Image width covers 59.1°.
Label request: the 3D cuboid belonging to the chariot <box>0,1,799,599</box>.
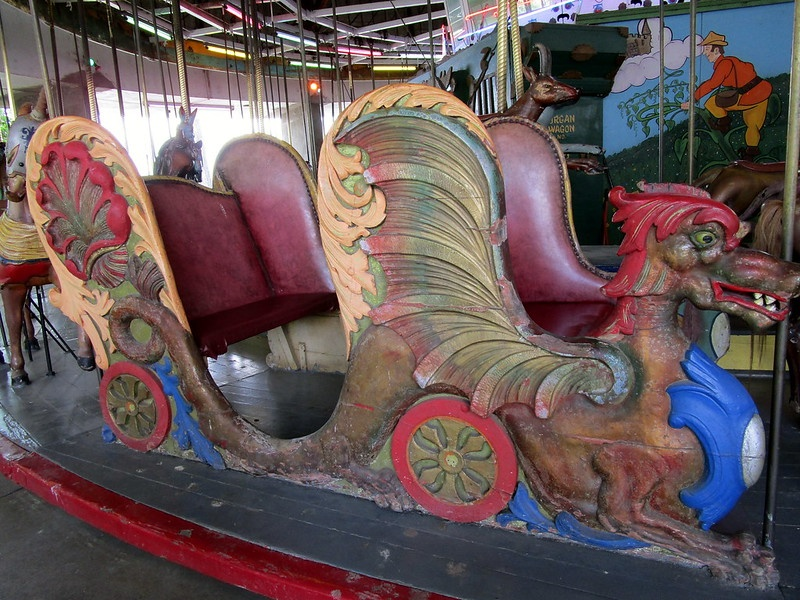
[{"bbox_3d":[0.003,0.072,2.424,2.429,1.550,0.358,1,16,21],"label":"chariot"}]
